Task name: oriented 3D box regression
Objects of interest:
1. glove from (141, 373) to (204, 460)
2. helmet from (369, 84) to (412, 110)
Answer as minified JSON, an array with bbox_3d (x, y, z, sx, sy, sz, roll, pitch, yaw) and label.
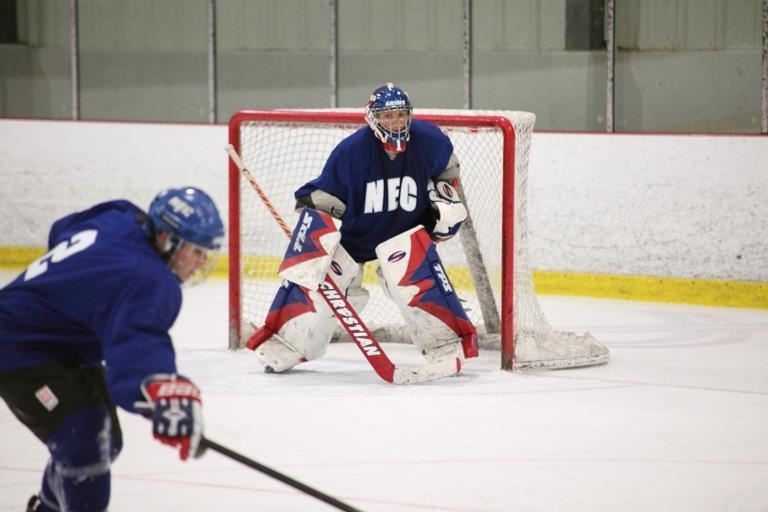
[{"bbox_3d":[-0.805,0.604,4.002,0.248,0.319,0.142,0,0,-3],"label":"glove"},{"bbox_3d":[0.028,-0.914,6.045,0.168,0.168,0.203,-4,-6,-21],"label":"helmet"}]
